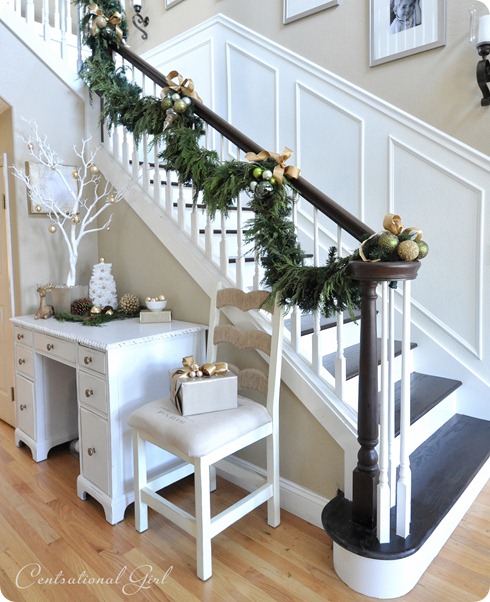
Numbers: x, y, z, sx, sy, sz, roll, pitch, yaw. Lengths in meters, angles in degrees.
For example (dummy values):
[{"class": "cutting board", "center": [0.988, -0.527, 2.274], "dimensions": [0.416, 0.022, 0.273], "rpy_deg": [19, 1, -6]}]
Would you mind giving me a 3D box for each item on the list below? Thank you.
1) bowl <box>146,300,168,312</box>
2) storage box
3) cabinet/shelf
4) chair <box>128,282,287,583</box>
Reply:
[{"class": "bowl", "center": [-0.427, 0.025, 2.869], "dimensions": [0.064, 0.033, 0.064], "rpy_deg": [-4, -1, 0]}, {"class": "storage box", "center": [-0.153, 0.335, 2.284], "dimensions": [0.230, 0.131, 0.169], "rpy_deg": [-6, 15, -16]}, {"class": "cabinet/shelf", "center": [-0.664, 0.467, 2.938], "dimensions": [0.585, 0.740, 1.002], "rpy_deg": [-8, 12, -43]}, {"class": "chair", "center": [-0.121, 0.442, 2.336], "dimensions": [0.467, 0.924, 0.647], "rpy_deg": [10, 19, 39]}]
